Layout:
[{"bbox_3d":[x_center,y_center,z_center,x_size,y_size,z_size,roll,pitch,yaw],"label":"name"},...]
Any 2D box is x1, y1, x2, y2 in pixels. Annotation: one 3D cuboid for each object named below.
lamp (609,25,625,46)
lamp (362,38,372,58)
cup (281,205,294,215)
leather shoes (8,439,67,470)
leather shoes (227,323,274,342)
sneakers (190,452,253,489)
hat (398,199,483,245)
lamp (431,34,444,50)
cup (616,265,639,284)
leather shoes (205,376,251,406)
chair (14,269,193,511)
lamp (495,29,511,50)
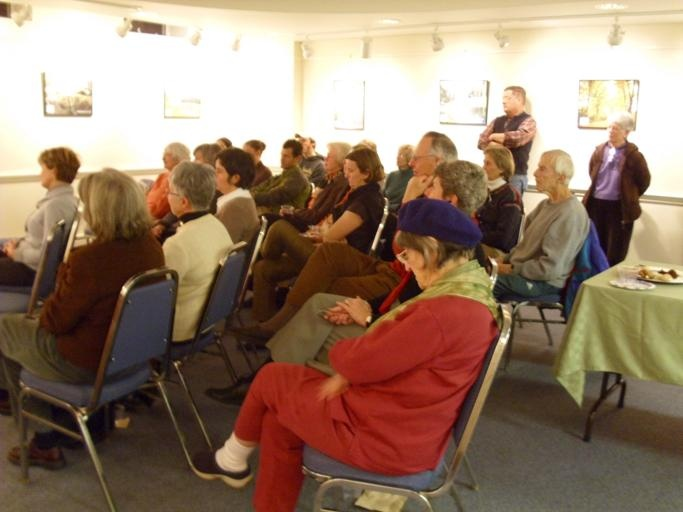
[{"bbox_3d":[3.125,-2.521,5.749,0.149,0.231,0.439,7,13,27],"label":"lamp"},{"bbox_3d":[0.356,-2.950,7.073,0.124,0.265,0.127,1,12,2],"label":"lamp"},{"bbox_3d":[-0.540,-0.473,5.035,0.130,0.111,0.109,0,6,19],"label":"cup"},{"bbox_3d":[-1.535,0.993,2.591,0.273,0.129,0.129,9,4,11],"label":"leather shoes"},{"bbox_3d":[-0.584,0.497,3.330,0.320,0.123,0.122,9,-13,-2],"label":"leather shoes"},{"bbox_3d":[-0.518,0.901,2.180,0.277,0.116,0.127,15,6,12],"label":"sneakers"},{"bbox_3d":[0.358,-0.121,1.870,0.219,0.101,0.182,17,8,4],"label":"hat"},{"bbox_3d":[1.295,-2.888,6.748,0.120,0.229,0.357,4,12,13],"label":"lamp"},{"bbox_3d":[1.601,0.090,2.878,0.106,0.095,0.142,0,4,-21],"label":"cup"},{"bbox_3d":[-0.702,0.793,3.085,0.410,0.172,0.130,-1,-4,35],"label":"leather shoes"},{"bbox_3d":[-1.069,0.549,2.268,0.672,1.050,0.482,-6,14,-29],"label":"chair"},{"bbox_3d":[2.097,-2.860,6.573,0.177,0.281,0.563,5,13,18],"label":"lamp"}]
